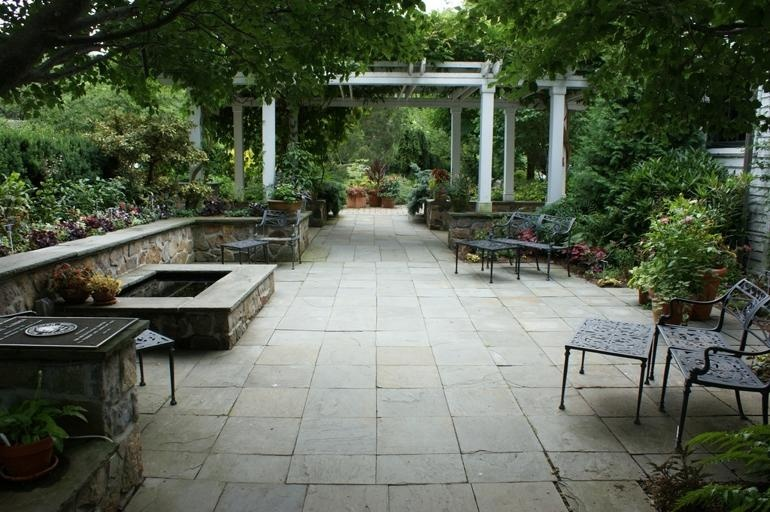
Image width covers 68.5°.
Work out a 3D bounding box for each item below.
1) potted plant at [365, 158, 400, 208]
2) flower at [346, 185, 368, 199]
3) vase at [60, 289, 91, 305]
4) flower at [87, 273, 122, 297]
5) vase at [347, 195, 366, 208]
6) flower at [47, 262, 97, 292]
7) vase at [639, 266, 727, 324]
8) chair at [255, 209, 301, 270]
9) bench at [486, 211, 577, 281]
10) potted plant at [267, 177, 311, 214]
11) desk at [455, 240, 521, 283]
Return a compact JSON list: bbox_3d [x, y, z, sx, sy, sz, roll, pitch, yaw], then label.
[{"bbox_3d":[-0.025,-2.418,18.979,1.045,1.440,1.720,0,13,1],"label":"potted plant"},{"bbox_3d":[-0.992,-2.043,18.207,0.544,0.258,0.497,-2,3,-26],"label":"flower"},{"bbox_3d":[-2.878,0.377,5.248,0.206,0.094,0.182,1,-2,-3],"label":"vase"},{"bbox_3d":[-2.596,0.275,5.312,0.247,0.147,0.236,6,6,23],"label":"flower"},{"bbox_3d":[-0.936,-1.798,18.283,0.820,0.481,0.420,-1,14,-14],"label":"vase"},{"bbox_3d":[-2.936,0.197,5.325,0.355,0.190,0.293,1,2,-7],"label":"flower"},{"bbox_3d":[3.186,0.472,6.075,0.831,0.471,0.827,5,7,38],"label":"vase"},{"bbox_3d":[-1.724,-0.382,9.070,0.733,0.759,0.597,2,-7,7],"label":"chair"},{"bbox_3d":[2.278,-0.173,8.894,0.607,0.824,1.412,-12,13,-27],"label":"bench"},{"bbox_3d":[-1.700,-1.010,9.788,0.755,0.515,0.789,-1,4,-44],"label":"potted plant"},{"bbox_3d":[1.520,0.232,8.566,0.811,0.498,1.066,3,10,4],"label":"desk"}]
